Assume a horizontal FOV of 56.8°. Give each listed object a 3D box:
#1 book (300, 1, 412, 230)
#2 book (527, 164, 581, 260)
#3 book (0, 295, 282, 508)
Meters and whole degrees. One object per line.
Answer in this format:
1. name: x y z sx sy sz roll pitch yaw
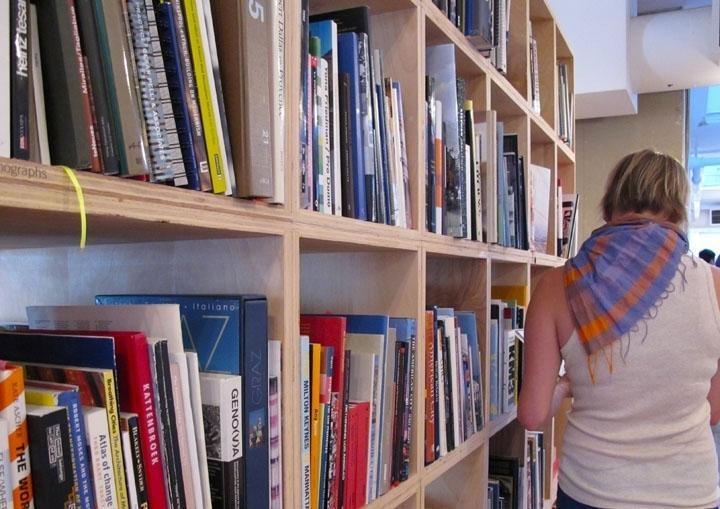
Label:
1. book: -0.033 -0.349 1.666 0.169 0.576 0.493 -9 -13 29
2. book: 0.934 -0.211 3.242 0.053 0.371 0.535 -2 -4 28
3. book: -0.398 0.289 1.347 0.458 0.468 0.262 -6 -12 15
